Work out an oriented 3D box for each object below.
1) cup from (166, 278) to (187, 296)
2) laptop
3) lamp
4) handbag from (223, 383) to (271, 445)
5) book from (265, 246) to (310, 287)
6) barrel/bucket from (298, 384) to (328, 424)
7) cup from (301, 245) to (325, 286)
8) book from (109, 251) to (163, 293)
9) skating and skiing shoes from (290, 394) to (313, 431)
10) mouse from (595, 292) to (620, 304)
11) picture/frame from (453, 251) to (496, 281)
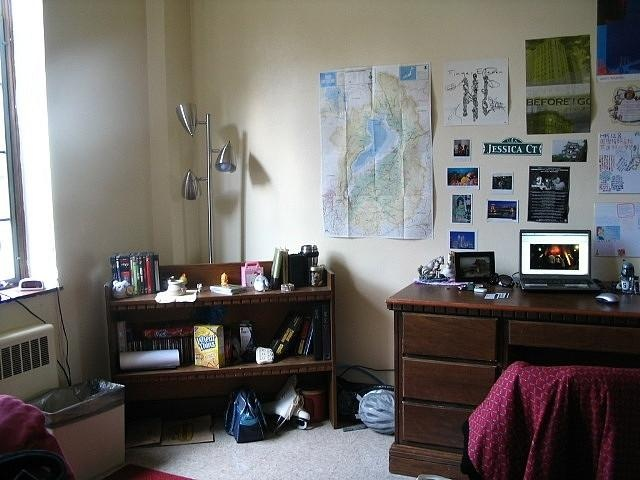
[{"bbox_3d":[-0.903,0.290,3.147,0.101,0.080,0.082,4,5,11],"label":"cup"},{"bbox_3d":[1.384,0.099,2.936,0.444,0.390,0.333,0,2,15],"label":"laptop"},{"bbox_3d":[-0.778,-0.373,3.525,0.391,1.112,0.439,-2,13,-10],"label":"lamp"},{"bbox_3d":[-0.456,1.083,3.160,0.223,0.262,0.368,1,3,-11],"label":"handbag"},{"bbox_3d":[-0.204,0.177,3.335,0.214,0.328,0.306,1,5,-13],"label":"book"},{"bbox_3d":[-0.035,1.074,3.320,0.183,0.220,0.194,0,8,0],"label":"barrel/bucket"},{"bbox_3d":[-0.040,0.168,3.312,0.143,0.274,0.259,1,7,13],"label":"cup"},{"bbox_3d":[-1.163,0.200,3.158,0.219,0.324,0.312,-2,3,-9],"label":"book"},{"bbox_3d":[-0.136,1.104,3.275,0.145,0.187,0.148,0,13,-1],"label":"skating and skiing shoes"},{"bbox_3d":[1.494,0.293,2.609,0.045,0.026,0.076,-9,12,-31],"label":"mouse"},{"bbox_3d":[0.945,0.156,3.101,0.275,0.257,0.156,0,1,3],"label":"picture/frame"}]
